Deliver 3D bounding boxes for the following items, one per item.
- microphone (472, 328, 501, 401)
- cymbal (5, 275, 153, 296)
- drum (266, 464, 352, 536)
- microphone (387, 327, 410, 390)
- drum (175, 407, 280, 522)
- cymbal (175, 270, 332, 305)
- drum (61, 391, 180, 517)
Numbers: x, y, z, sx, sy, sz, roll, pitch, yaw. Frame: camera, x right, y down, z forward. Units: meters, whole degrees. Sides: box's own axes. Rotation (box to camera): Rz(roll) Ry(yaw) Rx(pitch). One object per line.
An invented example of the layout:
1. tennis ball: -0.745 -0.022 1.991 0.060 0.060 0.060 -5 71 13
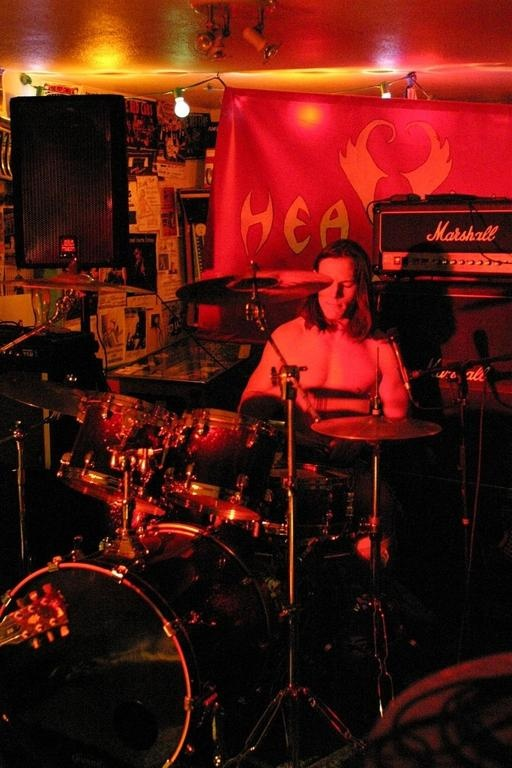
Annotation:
1. microphone: 1.041 -0.098 3.012 0.042 0.190 0.195 -13 5 26
2. cymbal: -0.636 -0.362 2.500 0.485 0.082 0.358 1 14 -6
3. drum: 0.170 0.418 2.307 0.330 0.210 0.334 -2 -10 0
4. microphone: 0.583 -0.101 2.752 0.046 0.280 0.092 -25 4 11
5. drum: -0.069 0.221 1.944 0.258 0.281 0.169 3 14 0
6. cymbal: 0.010 -0.314 2.162 0.240 0.056 0.245 -3 -1 31
7. drum: -0.396 0.180 2.087 0.370 0.264 0.369 6 -5 0
